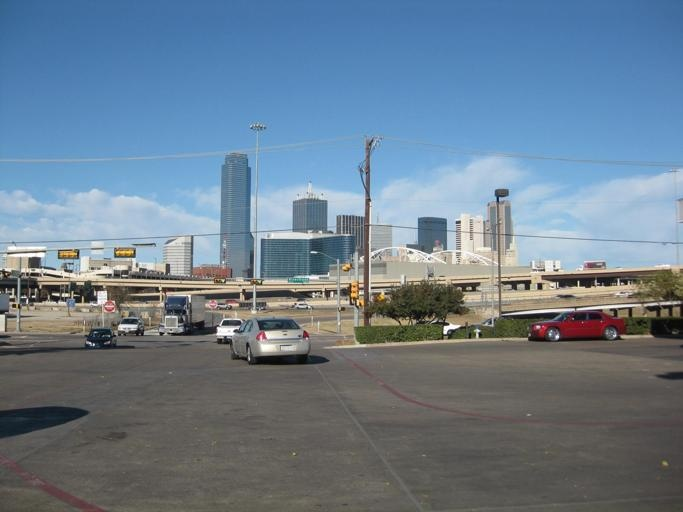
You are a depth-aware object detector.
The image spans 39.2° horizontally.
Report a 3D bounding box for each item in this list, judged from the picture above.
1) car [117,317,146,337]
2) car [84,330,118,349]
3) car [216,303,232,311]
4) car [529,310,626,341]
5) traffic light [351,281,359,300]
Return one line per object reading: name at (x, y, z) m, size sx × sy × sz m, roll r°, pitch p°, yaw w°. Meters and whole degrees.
car at (-13.745, 4.621, 62.685) m, size 1.147 × 0.803 × 1.756 m, roll 1°, pitch -9°, yaw -8°
car at (-10.343, 3.534, 41.143) m, size 1.030 × 0.774 × 1.531 m, roll -2°, pitch -1°, yaw 6°
car at (-20.036, 9.026, 163.315) m, size 2.829 × 1.201 × 1.697 m, roll -2°, pitch 1°, yaw 3°
car at (9.850, 2.980, 39.554) m, size 3.591 × 1.042 × 1.452 m, roll 2°, pitch -5°, yaw -2°
traffic light at (0.679, 1.780, 48.148) m, size 0.374 × 1.000 × 1.064 m, roll -1°, pitch -1°, yaw 0°
